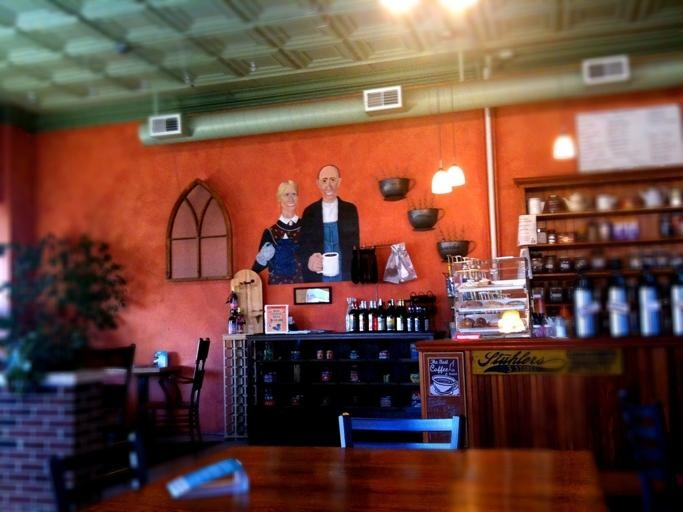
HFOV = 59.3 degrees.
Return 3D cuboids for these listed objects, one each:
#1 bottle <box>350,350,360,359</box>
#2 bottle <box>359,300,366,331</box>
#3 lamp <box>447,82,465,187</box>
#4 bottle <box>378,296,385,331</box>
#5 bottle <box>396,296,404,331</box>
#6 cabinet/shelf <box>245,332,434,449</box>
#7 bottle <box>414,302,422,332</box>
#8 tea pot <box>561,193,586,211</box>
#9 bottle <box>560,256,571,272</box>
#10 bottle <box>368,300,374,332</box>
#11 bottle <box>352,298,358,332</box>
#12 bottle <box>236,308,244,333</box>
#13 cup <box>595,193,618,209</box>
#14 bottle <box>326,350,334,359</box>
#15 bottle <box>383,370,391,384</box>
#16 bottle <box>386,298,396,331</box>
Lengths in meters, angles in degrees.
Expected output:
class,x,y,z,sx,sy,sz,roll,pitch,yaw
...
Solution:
class,x,y,z,sx,sy,sz,roll,pitch,yaw
bottle,0.146,1.072,6.492,0.126,0.118,0.069,0,-3,14
bottle,0.242,0.653,6.596,0.093,0.232,0.234,-4,2,2
lamp,1.195,-1.214,6.281,0.152,1.004,0.678,-4,2,14
bottle,0.442,0.635,6.528,0.091,0.236,0.288,-4,3,3
bottle,0.640,0.670,6.428,0.108,0.199,0.202,-4,2,5
cabinet/shelf,0.001,1.313,5.850,1.420,0.858,0.405,-1,-7,7
bottle,0.826,0.656,6.373,0.075,0.174,0.276,-4,3,8
tea pot,2.330,-0.532,5.996,0.160,0.198,0.219,-8,-11,42
bottle,2.219,0.100,5.941,0.123,0.184,0.123,0,3,0
bottle,0.335,0.648,6.554,0.090,0.225,0.276,-4,3,3
bottle,0.165,0.655,6.612,0.083,0.237,0.202,-4,2,4
bottle,-1.149,0.748,6.926,0.082,0.232,0.263,-4,3,-8
cup,2.539,-0.517,5.746,0.158,0.114,0.155,1,-2,0
bottle,-0.120,1.082,6.542,0.078,0.105,0.077,0,-1,0
bottle,0.486,1.286,6.386,0.098,0.089,0.148,-4,3,4
bottle,0.538,0.636,6.506,0.111,0.229,0.250,-4,2,5
